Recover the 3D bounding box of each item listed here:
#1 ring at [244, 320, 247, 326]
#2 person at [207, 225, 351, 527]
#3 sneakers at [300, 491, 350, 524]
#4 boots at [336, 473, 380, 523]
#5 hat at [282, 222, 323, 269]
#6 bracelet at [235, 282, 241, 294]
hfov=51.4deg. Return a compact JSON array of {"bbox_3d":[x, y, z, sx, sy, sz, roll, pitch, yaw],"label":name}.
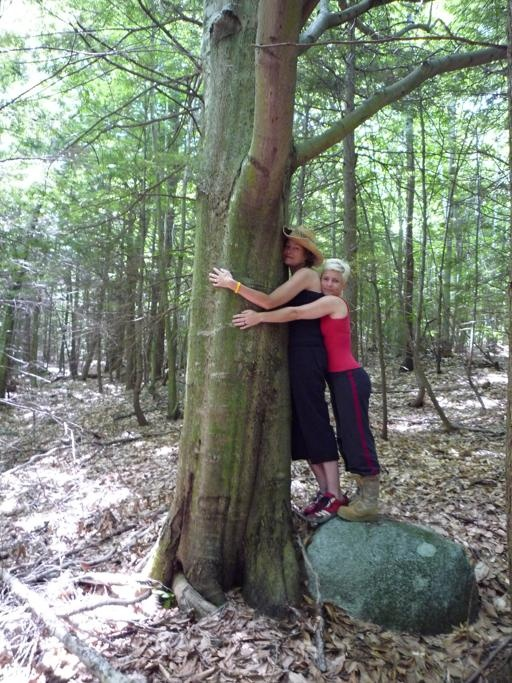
[{"bbox_3d":[-0.067,-0.120,3.392,0.023,0.020,0.016,-3,2,0],"label":"ring"},{"bbox_3d":[0.249,0.252,3.684,0.859,2.047,0.354,-5,3,-43],"label":"person"},{"bbox_3d":[0.516,1.180,3.857,0.394,0.160,0.152,-7,1,-41],"label":"sneakers"},{"bbox_3d":[0.746,1.098,3.696,0.390,0.378,0.196,1,-8,9],"label":"boots"},{"bbox_3d":[0.343,-0.663,3.722,0.177,0.243,0.450,-2,2,28],"label":"hat"},{"bbox_3d":[-0.115,-0.336,3.359,0.020,0.055,0.049,8,13,6],"label":"bracelet"}]
